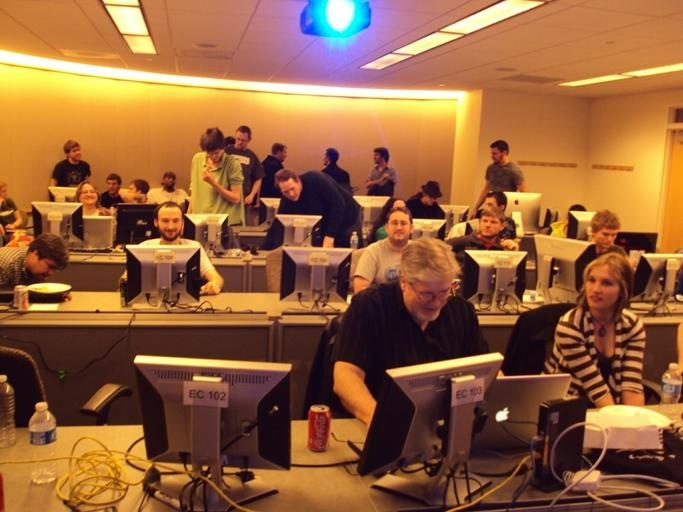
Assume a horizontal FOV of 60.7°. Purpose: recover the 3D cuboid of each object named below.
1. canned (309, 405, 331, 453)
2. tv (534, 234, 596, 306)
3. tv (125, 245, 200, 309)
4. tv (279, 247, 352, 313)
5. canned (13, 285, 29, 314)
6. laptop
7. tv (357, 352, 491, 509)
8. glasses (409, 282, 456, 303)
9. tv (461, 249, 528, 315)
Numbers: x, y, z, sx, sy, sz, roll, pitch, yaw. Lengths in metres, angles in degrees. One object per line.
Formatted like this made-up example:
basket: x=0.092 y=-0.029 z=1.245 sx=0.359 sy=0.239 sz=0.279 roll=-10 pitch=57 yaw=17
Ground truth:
canned: x=-0.104 y=0.753 z=2.564 sx=0.097 sy=0.192 sz=0.128 roll=1 pitch=7 yaw=-3
tv: x=1.637 y=0.116 z=4.310 sx=0.272 sy=0.429 sz=0.498 roll=-11 pitch=15 yaw=-18
tv: x=-1.211 y=0.136 z=3.872 sx=0.451 sy=0.355 sz=0.141 roll=1 pitch=7 yaw=-10
tv: x=-0.191 y=0.172 z=4.088 sx=0.436 sy=0.396 sz=0.227 roll=2 pitch=21 yaw=-5
canned: x=-2.064 y=0.286 z=3.732 sx=0.078 sy=0.200 sz=0.168 roll=1 pitch=-2 yaw=-12
laptop: x=0.740 y=0.631 z=2.483 sx=0.443 sy=0.285 sz=0.351 roll=0 pitch=0 yaw=-10
tv: x=0.332 y=0.713 z=2.274 sx=0.539 sy=0.478 sz=0.307 roll=-5 pitch=17 yaw=-23
glasses: x=0.399 y=0.164 z=2.645 sx=0.185 sy=0.092 sz=0.083 roll=2 pitch=7 yaw=2
tv: x=1.093 y=0.195 z=4.219 sx=0.470 sy=0.416 sz=0.259 roll=1 pitch=11 yaw=0
